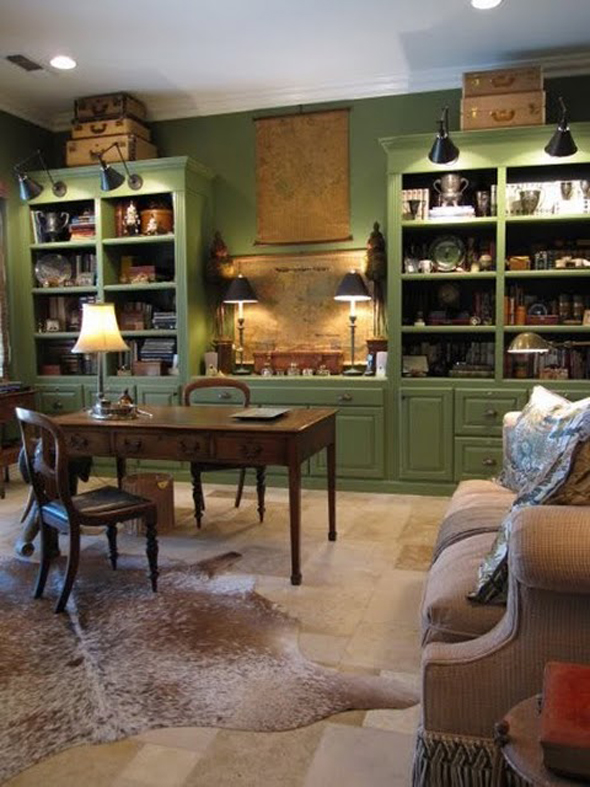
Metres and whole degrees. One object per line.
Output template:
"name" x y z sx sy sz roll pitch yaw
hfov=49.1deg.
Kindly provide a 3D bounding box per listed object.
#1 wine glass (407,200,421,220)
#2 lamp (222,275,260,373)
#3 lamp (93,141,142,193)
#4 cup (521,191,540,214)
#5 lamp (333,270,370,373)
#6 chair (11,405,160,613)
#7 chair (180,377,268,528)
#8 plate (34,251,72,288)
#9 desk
"wine glass" 0.812 -1.249 4.387 0.111 0.160 0.107 0 12 16
"lamp" -0.423 -0.563 5.095 0.272 0.783 0.492 -1 5 -6
"lamp" -1.275 -1.578 4.590 0.263 0.381 0.140 -30 53 -18
"cup" 1.509 -1.239 4.201 0.158 0.175 0.114 8 21 25
"lamp" 0.432 -0.536 4.809 0.274 0.773 0.424 0 5 4
"chair" -0.849 0.443 2.654 0.475 0.757 0.406 -2 5 -38
"chair" -0.438 0.280 3.937 0.514 0.912 0.485 7 -14 -32
"plate" -2.013 -1.027 5.307 0.300 0.294 0.089 -3 -2 0
"desk" -0.320 0.211 3.145 1.382 0.702 0.780 -1 1 17
